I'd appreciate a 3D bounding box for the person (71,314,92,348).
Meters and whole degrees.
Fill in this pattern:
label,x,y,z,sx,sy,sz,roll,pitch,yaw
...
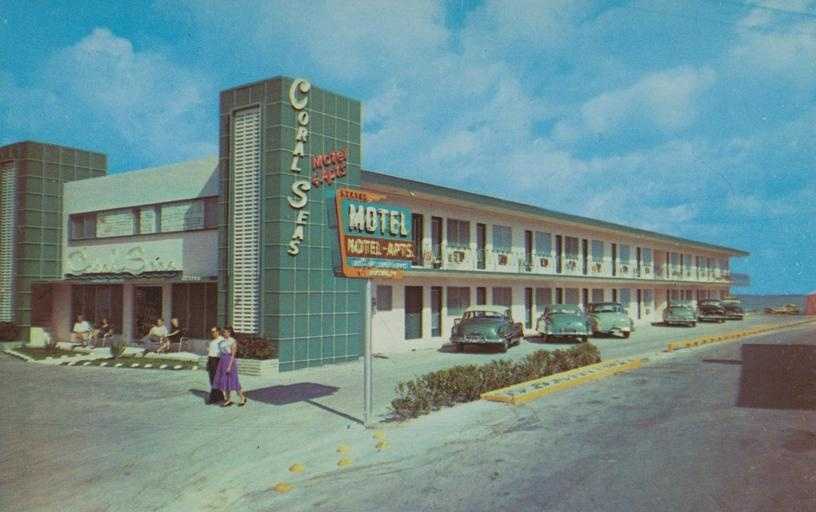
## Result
label,x,y,z,sx,sy,sz,roll,pitch,yaw
person,-16.397,3.772,36.119,0.947,1.372,1.828,-7,13,-25

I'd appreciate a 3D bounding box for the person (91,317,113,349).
label,x,y,z,sx,sy,sz,roll,pitch,yaw
person,-15.319,3.810,35.902,0.943,1.266,1.493,-6,12,-20

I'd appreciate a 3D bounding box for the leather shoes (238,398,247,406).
label,x,y,z,sx,sy,sz,roll,pitch,yaw
leather shoes,-5.659,4.987,24.421,0.259,0.221,0.369,-4,11,-12

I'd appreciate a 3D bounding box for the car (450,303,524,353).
label,x,y,z,sx,sy,sz,roll,pitch,yaw
car,3.697,3.666,34.370,2.631,2.255,2.826,4,12,25

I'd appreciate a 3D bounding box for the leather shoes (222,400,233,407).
label,x,y,z,sx,sy,sz,roll,pitch,yaw
leather shoes,-6.098,5.003,24.290,0.212,0.168,0.422,5,12,28
